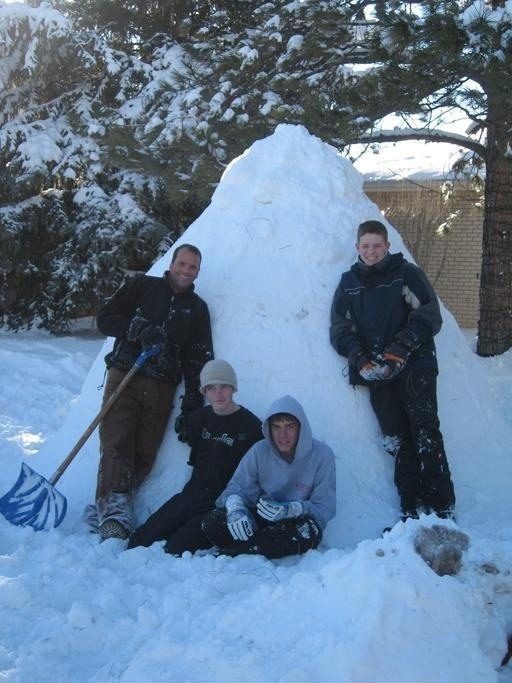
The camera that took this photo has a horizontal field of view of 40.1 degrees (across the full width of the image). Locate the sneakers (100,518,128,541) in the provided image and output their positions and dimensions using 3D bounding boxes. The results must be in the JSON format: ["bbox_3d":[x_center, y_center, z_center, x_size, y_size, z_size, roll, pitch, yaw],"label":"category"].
[{"bbox_3d":[-0.721,0.972,3.563,0.145,0.110,0.105,-8,28,-14],"label":"sneakers"}]

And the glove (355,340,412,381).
[{"bbox_3d":[0.720,0.125,3.907,0.201,0.251,0.109,45,15,-9],"label":"glove"}]

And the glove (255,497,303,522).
[{"bbox_3d":[0.110,0.806,3.427,0.195,0.080,0.105,-2,13,-27],"label":"glove"}]

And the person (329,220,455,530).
[{"bbox_3d":[0.734,0.120,3.855,0.632,1.301,1.235,0,27,3],"label":"person"}]

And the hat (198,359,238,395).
[{"bbox_3d":[-0.202,0.180,3.707,0.169,0.177,0.131,-1,69,-4],"label":"hat"}]

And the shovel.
[{"bbox_3d":[-1.106,0.609,4.380,0.376,0.199,1.389,33,61,12],"label":"shovel"}]

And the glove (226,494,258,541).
[{"bbox_3d":[-0.081,0.857,3.427,0.076,0.126,0.201,5,46,-56],"label":"glove"}]

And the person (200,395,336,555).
[{"bbox_3d":[0.073,0.673,3.468,0.570,0.714,0.756,0,-5,40],"label":"person"}]
